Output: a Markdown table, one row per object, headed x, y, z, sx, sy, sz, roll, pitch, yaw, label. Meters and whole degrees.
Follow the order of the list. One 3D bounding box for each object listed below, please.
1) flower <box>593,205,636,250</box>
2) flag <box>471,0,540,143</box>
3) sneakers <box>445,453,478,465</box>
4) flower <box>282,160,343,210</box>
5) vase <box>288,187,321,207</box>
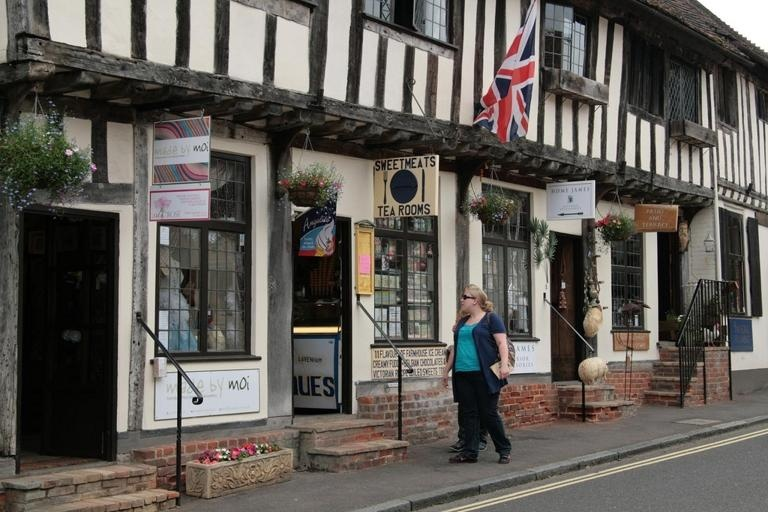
| x | y | z | sx | sy | sz | roll | pitch | yaw | label |
| --- | --- | --- | --- | --- | --- | --- | --- | --- | --- |
| 5.240 | -0.582 | 20.851 | 0.877 | 0.953 | 0.810 | 3 | -5 | -40 | flower |
| 2.324 | -3.401 | 17.224 | 1.125 | 2.563 | 0.330 | -4 | -4 | 31 | flag |
| 1.275 | 3.282 | 14.922 | 0.473 | 0.247 | 0.191 | 4 | -6 | 4 | sneakers |
| -1.213 | -1.152 | 15.145 | 1.009 | 0.806 | 0.974 | 7 | -8 | 40 | flower |
| -1.271 | -0.919 | 14.886 | 0.301 | 0.237 | 0.338 | -1 | -2 | 1 | vase |
